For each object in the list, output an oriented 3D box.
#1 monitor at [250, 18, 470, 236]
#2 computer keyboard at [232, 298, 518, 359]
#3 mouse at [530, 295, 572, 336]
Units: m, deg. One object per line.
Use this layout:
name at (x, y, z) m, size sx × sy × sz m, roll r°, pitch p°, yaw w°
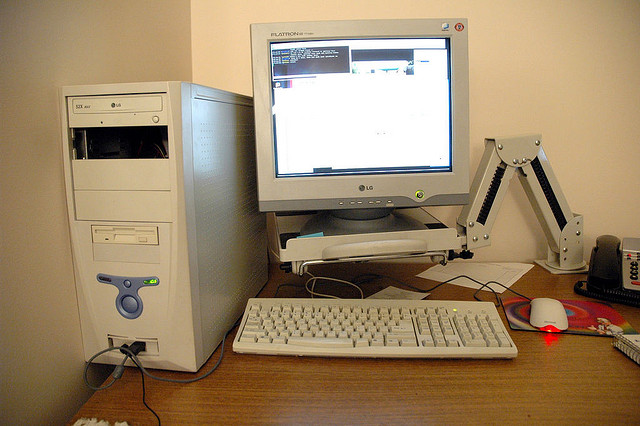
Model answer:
monitor at (0.109, -0.244, 1.559) m, size 0.592 × 0.584 × 0.335 m, roll -2°, pitch 4°, yaw -5°
computer keyboard at (0.136, 0.304, 1.357) m, size 0.690 × 0.072 × 0.261 m, roll 0°, pitch 20°, yaw 7°
mouse at (0.616, 0.247, 1.392) m, size 0.095 × 0.045 × 0.153 m, roll 5°, pitch 42°, yaw 22°
